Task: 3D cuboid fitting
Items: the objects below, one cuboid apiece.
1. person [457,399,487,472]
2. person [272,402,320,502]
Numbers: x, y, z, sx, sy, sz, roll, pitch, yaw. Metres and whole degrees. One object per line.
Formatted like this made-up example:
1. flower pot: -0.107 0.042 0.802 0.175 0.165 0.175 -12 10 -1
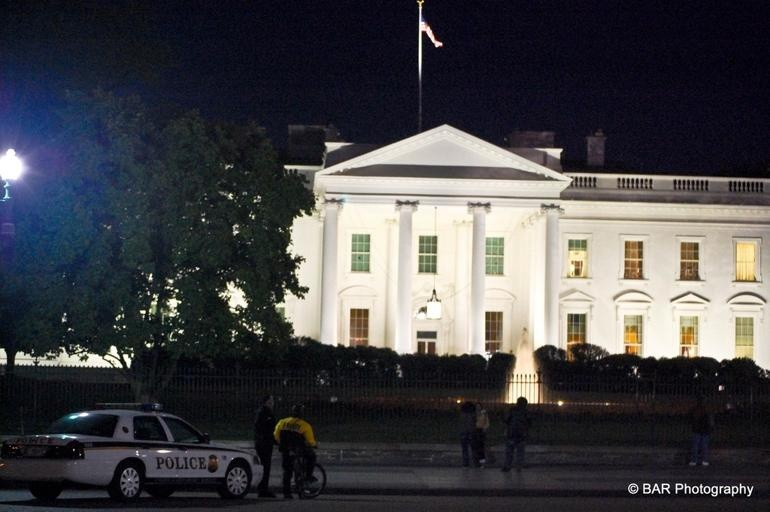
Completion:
1. person: 2.847 5.867 39.790 0.835 2.149 1.470 2 -11 4
2. person: -2.562 5.487 34.034 0.881 2.643 1.160 10 -13 -34
